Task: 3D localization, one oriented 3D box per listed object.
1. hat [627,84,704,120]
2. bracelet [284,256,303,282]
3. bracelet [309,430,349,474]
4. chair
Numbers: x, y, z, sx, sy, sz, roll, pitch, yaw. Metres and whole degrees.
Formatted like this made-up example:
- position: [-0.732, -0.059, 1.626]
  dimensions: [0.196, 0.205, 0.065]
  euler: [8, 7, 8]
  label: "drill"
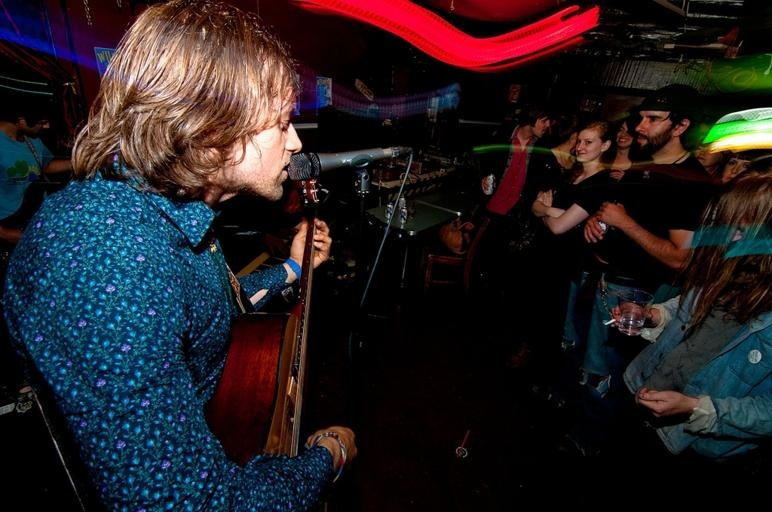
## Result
- position: [2.812, -1.417, 5.427]
  dimensions: [0.475, 0.252, 0.394]
  euler: [6, 31, 2]
  label: "hat"
- position: [-0.760, 0.101, 4.595]
  dimensions: [0.114, 0.191, 0.135]
  euler: [10, 42, 32]
  label: "bracelet"
- position: [-0.382, 1.373, 3.743]
  dimensions: [0.232, 0.132, 0.308]
  euler: [25, 19, -6]
  label: "bracelet"
- position: [0.855, -0.018, 6.968]
  dimensions: [0.628, 1.014, 0.587]
  euler: [11, 7, 1]
  label: "chair"
